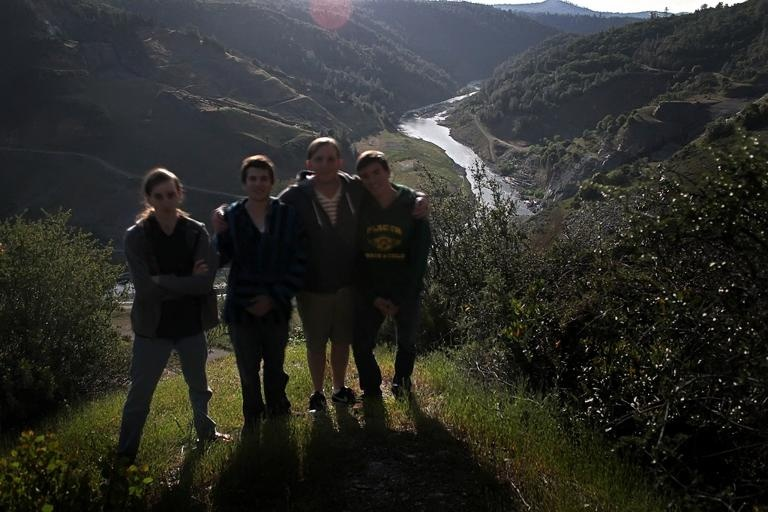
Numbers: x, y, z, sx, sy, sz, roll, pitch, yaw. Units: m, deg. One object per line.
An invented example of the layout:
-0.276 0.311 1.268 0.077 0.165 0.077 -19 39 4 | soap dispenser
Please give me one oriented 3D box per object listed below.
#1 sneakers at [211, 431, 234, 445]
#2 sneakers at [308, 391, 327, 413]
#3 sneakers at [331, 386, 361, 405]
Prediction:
-2.284 2.549 7.497 0.160 0.099 0.209 2 9 -29 | sneakers
-0.980 2.159 7.840 0.175 0.232 0.334 4 22 1 | sneakers
-0.558 2.089 7.964 0.439 0.213 0.167 2 22 -3 | sneakers
